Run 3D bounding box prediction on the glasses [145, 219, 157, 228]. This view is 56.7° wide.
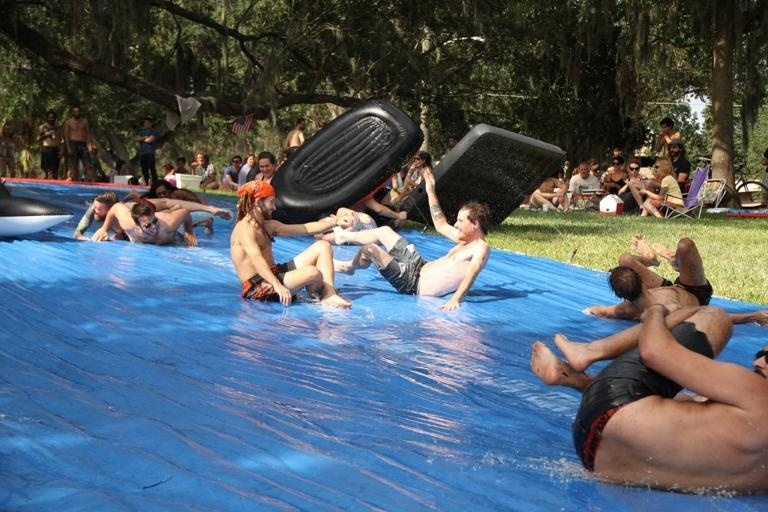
[{"bbox_3d":[-3.043,-0.402,9.266,0.148,0.102,0.059,4,6,-24],"label":"glasses"}]

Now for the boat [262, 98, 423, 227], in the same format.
[{"bbox_3d":[-0.684,-1.422,11.030,1.493,2.481,0.625,51,-4,25],"label":"boat"}]

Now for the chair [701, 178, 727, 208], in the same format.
[{"bbox_3d":[7.780,-1.489,16.864,0.548,0.732,0.798,11,37,28],"label":"chair"}]

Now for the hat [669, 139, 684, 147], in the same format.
[{"bbox_3d":[6.704,-2.586,16.362,0.276,0.115,0.200,9,8,30],"label":"hat"}]
